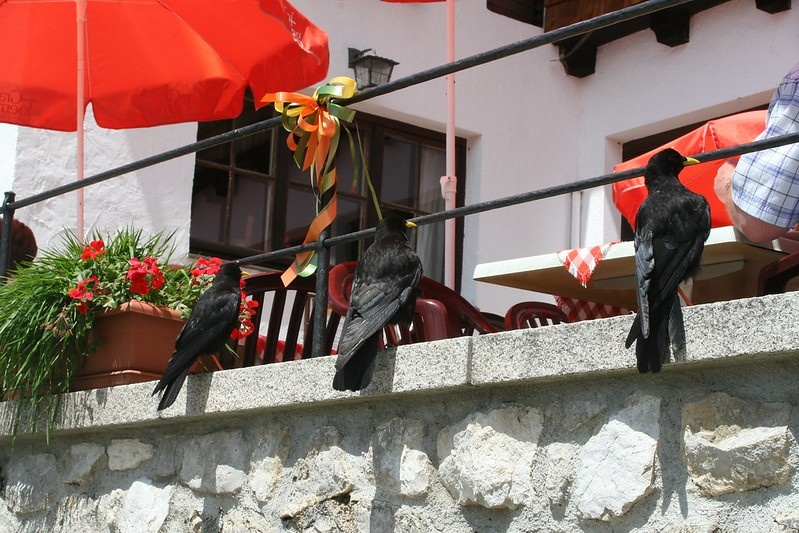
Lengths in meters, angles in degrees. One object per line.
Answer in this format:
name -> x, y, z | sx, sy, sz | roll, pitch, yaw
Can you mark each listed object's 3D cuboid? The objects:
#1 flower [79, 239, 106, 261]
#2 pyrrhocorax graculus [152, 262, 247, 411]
flower -> -1.486, -0.079, 5.979 | 0.083, 0.098, 0.041 | -18, -42, -12
pyrrhocorax graculus -> -0.873, 0.293, 5.702 | 0.458, 0.705, 0.298 | 5, -1, 18
